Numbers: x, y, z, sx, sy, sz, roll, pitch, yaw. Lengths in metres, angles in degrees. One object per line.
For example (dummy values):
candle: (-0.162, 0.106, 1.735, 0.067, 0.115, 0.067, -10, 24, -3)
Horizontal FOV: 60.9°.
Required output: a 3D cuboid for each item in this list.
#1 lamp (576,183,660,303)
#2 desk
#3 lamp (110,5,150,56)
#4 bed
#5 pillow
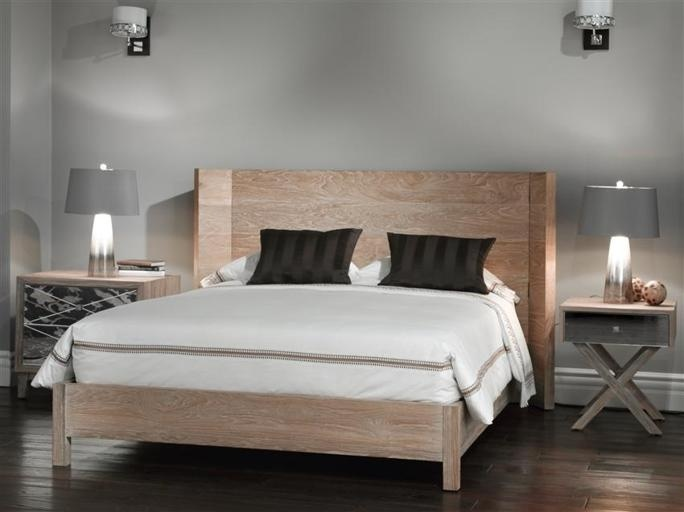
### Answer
lamp: (1.708, -0.088, 3.601, 0.440, 0.756, 0.251, 1, 1, 25)
desk: (1.652, 0.657, 3.843, 0.916, 0.864, 0.852, 0, 0, 20)
lamp: (-1.684, -1.808, 4.617, 0.282, 0.375, 0.388, 0, 1, -17)
bed: (0.019, 0.198, 3.547, 2.423, 1.689, 2.056, 1, 1, 17)
pillow: (0.189, 0.024, 3.995, 1.676, 0.424, 0.309, 0, 1, 6)
